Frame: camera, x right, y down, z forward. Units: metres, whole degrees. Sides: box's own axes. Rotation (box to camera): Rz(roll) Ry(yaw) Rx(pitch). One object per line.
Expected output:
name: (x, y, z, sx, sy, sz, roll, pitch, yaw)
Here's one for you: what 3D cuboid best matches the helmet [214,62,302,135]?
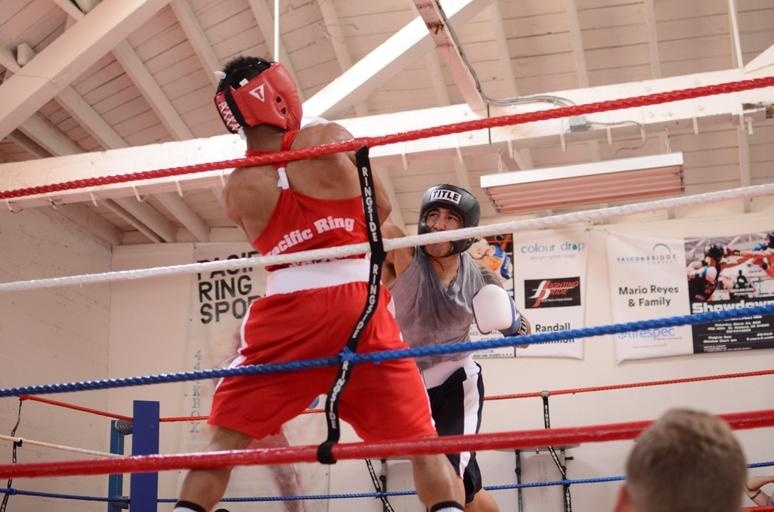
helmet: (-0.646, -0.798, 4.390, 0.468, 0.387, 0.335, -17, 1, -4)
